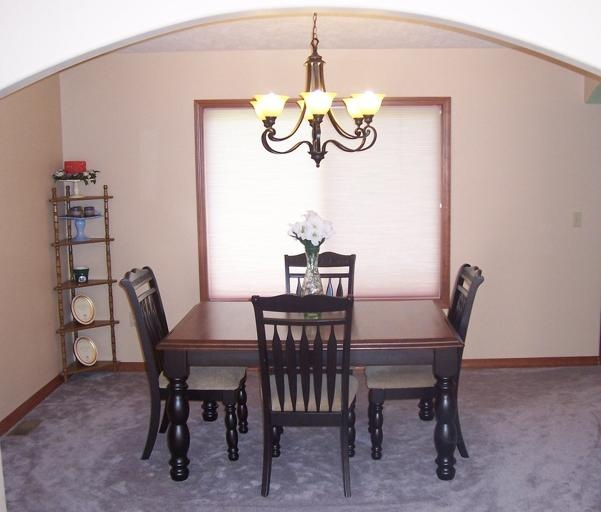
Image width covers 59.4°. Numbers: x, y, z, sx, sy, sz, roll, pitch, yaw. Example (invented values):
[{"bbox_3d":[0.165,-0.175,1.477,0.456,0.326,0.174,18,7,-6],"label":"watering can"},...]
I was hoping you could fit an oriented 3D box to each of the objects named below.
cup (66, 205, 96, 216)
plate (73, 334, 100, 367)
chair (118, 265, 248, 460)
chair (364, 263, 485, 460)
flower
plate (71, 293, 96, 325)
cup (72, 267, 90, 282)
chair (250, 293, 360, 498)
[{"bbox_3d":[-1.697,-0.343,4.116,0.205,0.079,0.150,1,11,9],"label":"cup"},{"bbox_3d":[-1.741,0.775,4.267,0.178,0.235,0.109,4,12,24],"label":"plate"},{"bbox_3d":[-0.654,0.618,3.174,0.665,1.089,0.587,1,8,7],"label":"chair"},{"bbox_3d":[0.706,0.599,3.151,0.656,1.048,0.627,-3,10,6],"label":"chair"},{"bbox_3d":[0.076,-0.122,3.120,0.261,0.283,0.264,2,3,44],"label":"flower"},{"bbox_3d":[-1.741,0.443,4.198,0.175,0.223,0.155,-3,11,-12],"label":"plate"},{"bbox_3d":[-1.727,0.147,4.166,0.110,0.097,0.112,2,1,0],"label":"cup"},{"bbox_3d":[0.038,0.668,2.803,0.521,1.107,0.590,0,11,6],"label":"chair"}]
